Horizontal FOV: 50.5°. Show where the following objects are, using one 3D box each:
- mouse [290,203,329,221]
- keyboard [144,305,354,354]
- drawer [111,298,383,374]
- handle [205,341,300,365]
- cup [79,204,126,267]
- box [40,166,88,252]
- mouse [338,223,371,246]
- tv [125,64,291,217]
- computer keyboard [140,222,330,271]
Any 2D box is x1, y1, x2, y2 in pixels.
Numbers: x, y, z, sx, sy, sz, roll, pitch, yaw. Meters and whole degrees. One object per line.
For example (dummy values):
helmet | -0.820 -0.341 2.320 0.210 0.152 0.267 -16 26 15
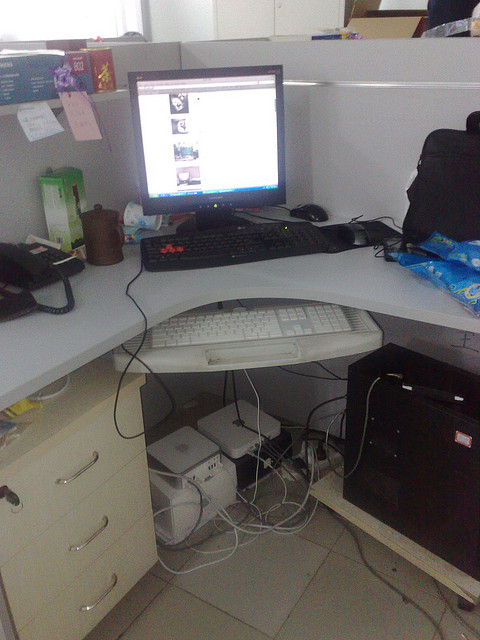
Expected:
mouse | 0.213 -0.334 1.542 0.092 0.031 0.054 17 39 31
keyboard | 0.024 0.005 1.172 0.484 0.027 0.178 -8 28 -9
drawer | 0.025 0.048 1.128 0.591 0.070 0.171 -9 28 -12
handle | 0.025 0.071 1.082 0.200 0.024 0.041 -6 27 -5
cup | -0.323 -0.210 1.254 0.135 0.139 0.087 19 34 32
box | -0.459 -0.296 1.354 0.068 0.195 0.115 3 24 10
mouse | 0.307 -0.234 1.378 0.057 0.038 0.099 -7 27 -8
tv | -0.089 -0.495 1.393 0.453 0.415 0.036 -7 28 -6
computer keyboard | -0.018 -0.194 1.333 0.475 0.042 0.190 -9 28 -11
